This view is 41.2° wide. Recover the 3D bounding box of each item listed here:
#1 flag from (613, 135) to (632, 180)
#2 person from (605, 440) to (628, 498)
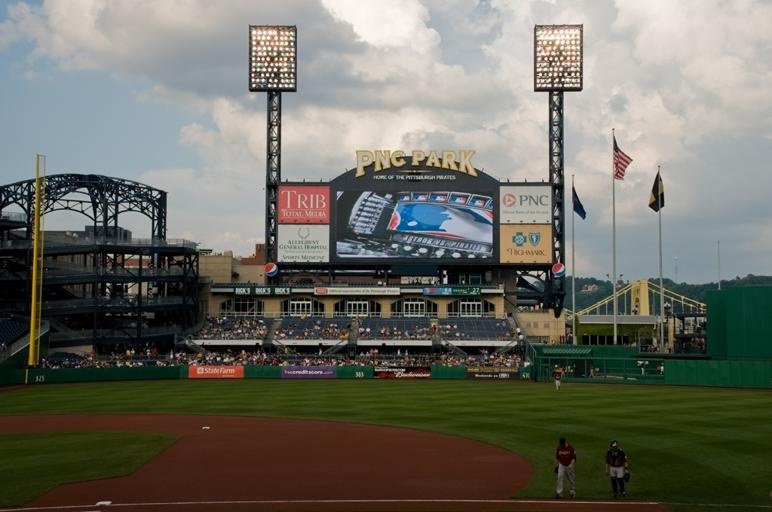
[{"bbox_3d":[22.655,-9.362,98.005,1.690,4.970,0.502,2,33,16],"label":"flag"},{"bbox_3d":[13.758,12.568,60.640,1.234,3.208,0.904,1,7,12],"label":"person"}]
